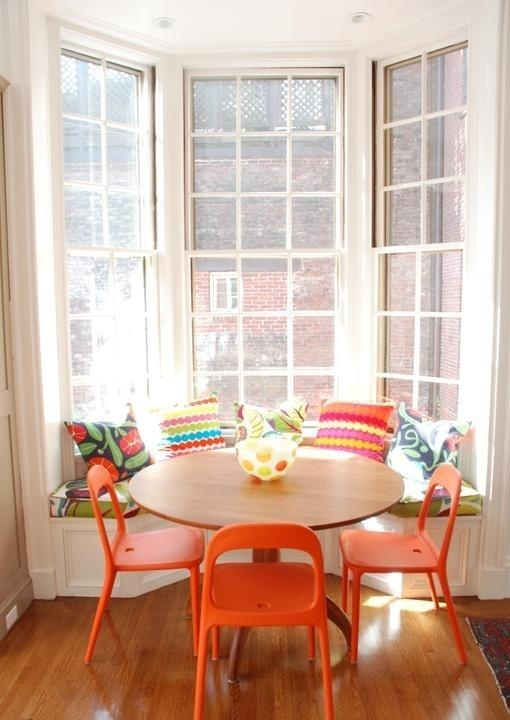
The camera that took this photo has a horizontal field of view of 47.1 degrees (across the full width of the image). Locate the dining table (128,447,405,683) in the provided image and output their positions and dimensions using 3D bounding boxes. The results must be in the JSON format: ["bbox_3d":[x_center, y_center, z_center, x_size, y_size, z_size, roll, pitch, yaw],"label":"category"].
[{"bbox_3d":[0.033,0.601,2.259,0.806,0.520,0.812,-1,13,-2],"label":"dining table"}]

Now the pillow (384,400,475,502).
[{"bbox_3d":[0.851,0.450,2.821,0.203,0.381,0.377,-13,16,-34],"label":"pillow"}]

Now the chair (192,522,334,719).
[{"bbox_3d":[0.021,0.730,1.881,0.400,0.670,0.550,-2,9,2],"label":"chair"}]
